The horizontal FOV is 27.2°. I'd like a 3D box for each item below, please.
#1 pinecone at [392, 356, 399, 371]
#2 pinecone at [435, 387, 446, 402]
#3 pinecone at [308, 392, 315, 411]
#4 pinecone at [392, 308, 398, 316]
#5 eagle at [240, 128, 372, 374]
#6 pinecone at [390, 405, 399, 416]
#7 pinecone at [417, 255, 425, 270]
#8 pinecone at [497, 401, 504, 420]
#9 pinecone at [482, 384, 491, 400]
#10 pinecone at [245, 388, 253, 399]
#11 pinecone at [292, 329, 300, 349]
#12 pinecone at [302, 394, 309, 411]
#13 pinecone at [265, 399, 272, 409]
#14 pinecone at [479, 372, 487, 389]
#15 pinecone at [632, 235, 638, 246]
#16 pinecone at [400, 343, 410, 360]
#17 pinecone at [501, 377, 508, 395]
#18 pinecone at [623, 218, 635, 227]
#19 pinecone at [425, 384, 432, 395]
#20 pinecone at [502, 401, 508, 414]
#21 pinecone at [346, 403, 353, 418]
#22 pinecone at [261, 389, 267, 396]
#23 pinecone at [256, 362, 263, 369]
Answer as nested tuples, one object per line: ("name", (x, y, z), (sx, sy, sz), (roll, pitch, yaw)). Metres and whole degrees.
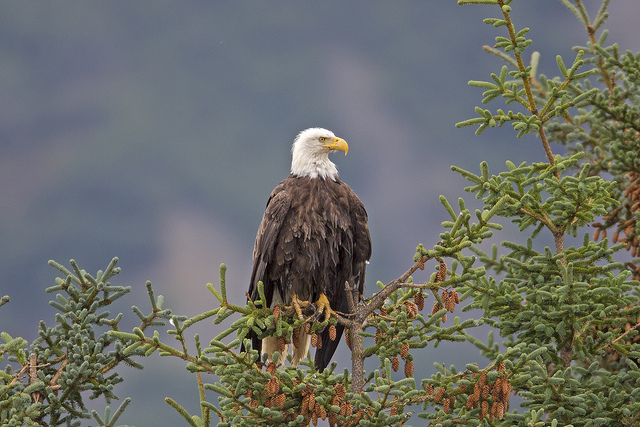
("pinecone", (0.722, 1.441, 12.806), (0.050, 0.143, 0.125), (-8, -59, 10))
("pinecone", (1.140, 1.710, 12.660), (0.077, 0.106, 0.149), (14, -58, -4))
("pinecone", (-0.094, 1.768, 12.617), (0.057, 0.161, 0.147), (7, -57, 0))
("pinecone", (0.729, 0.971, 13.100), (0.073, 0.052, 0.093), (-6, -90, -1))
("eagle", (-0.103, 0.382, 14.928), (1.752, 2.954, 2.548), (1, -91, 0))
("pinecone", (0.705, 1.881, 12.689), (0.082, 0.160, 0.093), (4, -57, 2))
("pinecone", (0.967, 0.481, 12.722), (0.074, 0.044, 0.129), (-4, -91, -3))
("pinecone", (1.704, 1.851, 12.471), (0.061, 0.104, 0.249), (-1, -58, 6))
("pinecone", (1.563, 1.652, 12.431), (0.062, 0.042, 0.114), (28, -65, 37))
("pinecone", (-0.705, 1.709, 12.738), (0.091, 0.041, 0.095), (-2, -94, 3))
("pinecone", (-0.263, 1.245, 13.192), (0.047, 0.053, 0.171), (-22, -93, 21))
("pinecone", (-0.154, 1.781, 12.625), (0.059, 0.125, 0.151), (10, -57, -1))
("pinecone", (-0.519, 1.805, 12.706), (0.042, 0.040, 0.077), (-16, -80, 60))
("pinecone", (1.535, 1.551, 12.453), (0.072, 0.099, 0.132), (1, -57, 4))
("pinecone", (3.347, 0.297, 13.992), (0.047, 0.096, 0.053), (13, -32, 21))
("pinecone", (0.814, 1.318, 12.823), (0.079, 0.113, 0.142), (16, -58, -6))
("pinecone", (1.716, 1.594, 12.368), (0.051, 0.048, 0.148), (-15, -101, 59))
("pinecone", (3.293, 0.103, 14.039), (0.041, 0.140, 0.042), (35, -28, 30))
("pinecone", (1.048, 1.679, 12.779), (0.058, 0.075, 0.064), (-3, -58, 7))
("pinecone", (1.743, 1.809, 12.496), (0.035, 0.080, 0.105), (7, -88, 42))
("pinecone", (0.267, 1.854, 12.652), (0.056, 0.093, 0.092), (1, -57, 4))
("pinecone", (-0.561, 1.696, 12.712), (0.049, 0.023, 0.050), (11, -57, -3))
("pinecone", (-0.610, 1.466, 12.896), (0.042, 0.065, 0.082), (-39, -68, 25))
